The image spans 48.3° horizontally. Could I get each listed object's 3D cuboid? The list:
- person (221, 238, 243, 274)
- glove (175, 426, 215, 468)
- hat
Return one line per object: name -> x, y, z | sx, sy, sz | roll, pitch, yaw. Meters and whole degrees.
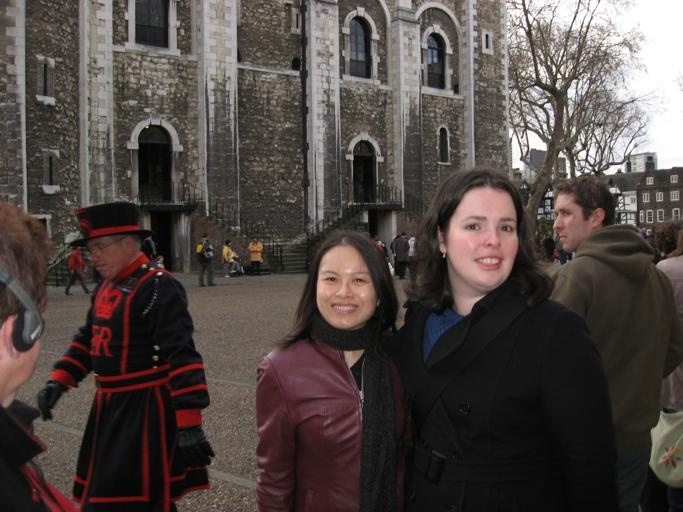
person -> -3.236, 0.165, 22.122 | 0.568, 0.677, 1.019 | -1, 4, 10
glove -> -0.823, 1.062, 4.191 | 0.088, 0.281, 0.253 | 0, 22, -30
hat -> -1.500, -0.210, 4.918 | 0.492, 0.205, 0.480 | -6, 0, -4
